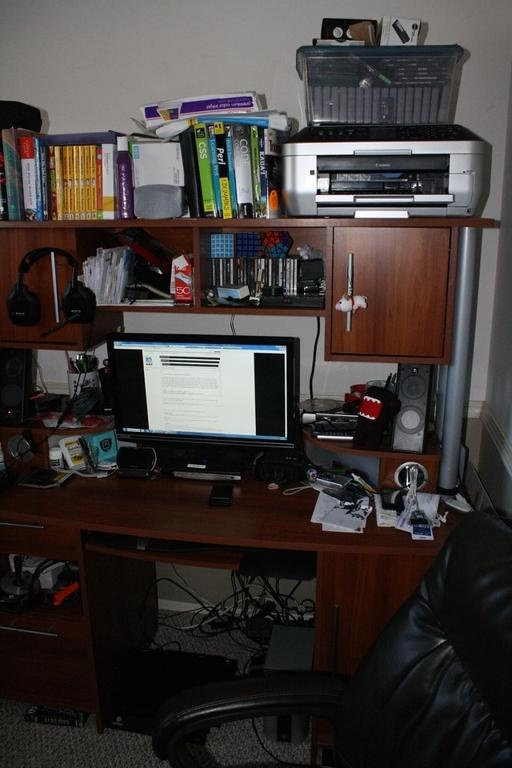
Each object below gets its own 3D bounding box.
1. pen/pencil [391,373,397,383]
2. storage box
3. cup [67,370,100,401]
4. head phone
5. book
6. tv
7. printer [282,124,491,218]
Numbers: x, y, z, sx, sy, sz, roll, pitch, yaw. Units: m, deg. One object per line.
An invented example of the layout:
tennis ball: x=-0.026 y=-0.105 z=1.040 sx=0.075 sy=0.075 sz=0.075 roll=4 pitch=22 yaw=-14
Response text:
pen/pencil: x=0.405 y=-0.017 z=1.743 sx=0.008 sy=0.028 sz=0.011 roll=2 pitch=-5 yaw=-17
storage box: x=0.287 y=-0.715 z=1.399 sx=0.311 sy=0.132 sz=0.217 roll=1 pitch=8 yaw=4
cup: x=-0.549 y=0.002 z=1.897 sx=0.086 sy=0.097 sz=0.086 roll=0 pitch=9 yaw=0
head phone: x=-0.572 y=-0.278 z=1.650 sx=0.207 sy=0.192 sz=0.084 roll=-3 pitch=2 yaw=1
book: x=-0.319 y=-0.607 z=1.610 sx=0.810 sy=0.313 sz=0.149 roll=1 pitch=12 yaw=7
tv: x=-0.150 y=0.066 z=1.752 sx=0.401 sy=0.310 sz=0.124 roll=1 pitch=13 yaw=8
printer: x=0.306 y=-0.518 z=1.425 sx=0.490 sy=0.227 sz=0.098 roll=1 pitch=12 yaw=7
